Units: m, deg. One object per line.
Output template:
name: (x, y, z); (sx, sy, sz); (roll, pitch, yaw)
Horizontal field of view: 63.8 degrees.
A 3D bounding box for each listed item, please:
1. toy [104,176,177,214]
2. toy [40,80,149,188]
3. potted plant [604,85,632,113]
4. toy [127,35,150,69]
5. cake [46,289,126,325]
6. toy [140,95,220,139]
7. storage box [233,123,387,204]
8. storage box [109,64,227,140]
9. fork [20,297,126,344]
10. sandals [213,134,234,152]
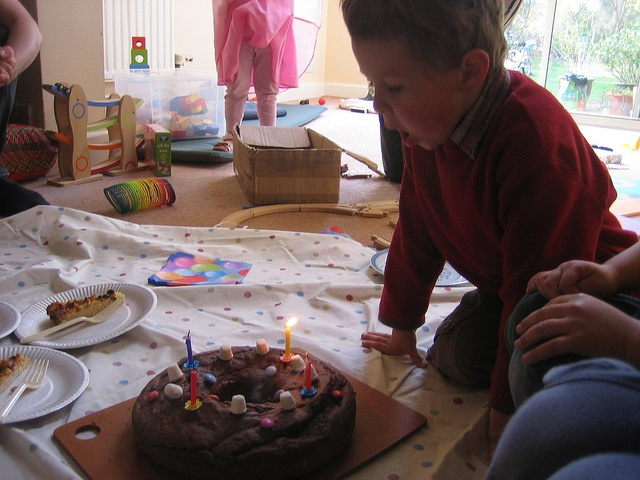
toy: (-0.788, -0.193, 2.298); (0.244, 0.141, 0.121); (-19, 15, -41)
toy: (-1.169, -0.566, 2.714); (0.143, 0.480, 0.528); (14, 19, 28)
potted plant: (3.019, -1.414, 5.195); (0.238, 0.302, 0.258); (-7, 17, -31)
toy: (-1.107, -1.153, 3.161); (0.137, 0.191, 0.148); (16, 27, 18)
cake: (-0.584, 0.166, 1.302); (0.175, 0.059, 0.067); (-19, 31, -31)
toy: (-0.947, -0.815, 3.399); (0.306, 0.236, 0.330); (-9, 30, -16)
storage box: (-0.057, -0.388, 2.685); (0.453, 0.336, 0.815); (-2, 17, -9)
storage box: (-1.044, -1.020, 3.792); (0.938, 0.502, 0.956); (-12, 22, -32)
fork: (-0.601, 0.201, 1.259); (0.031, 0.031, 0.190); (12, 28, 39)
sandals: (-0.619, -0.622, 3.280); (0.068, 0.083, 0.187); (0, 9, 4)
